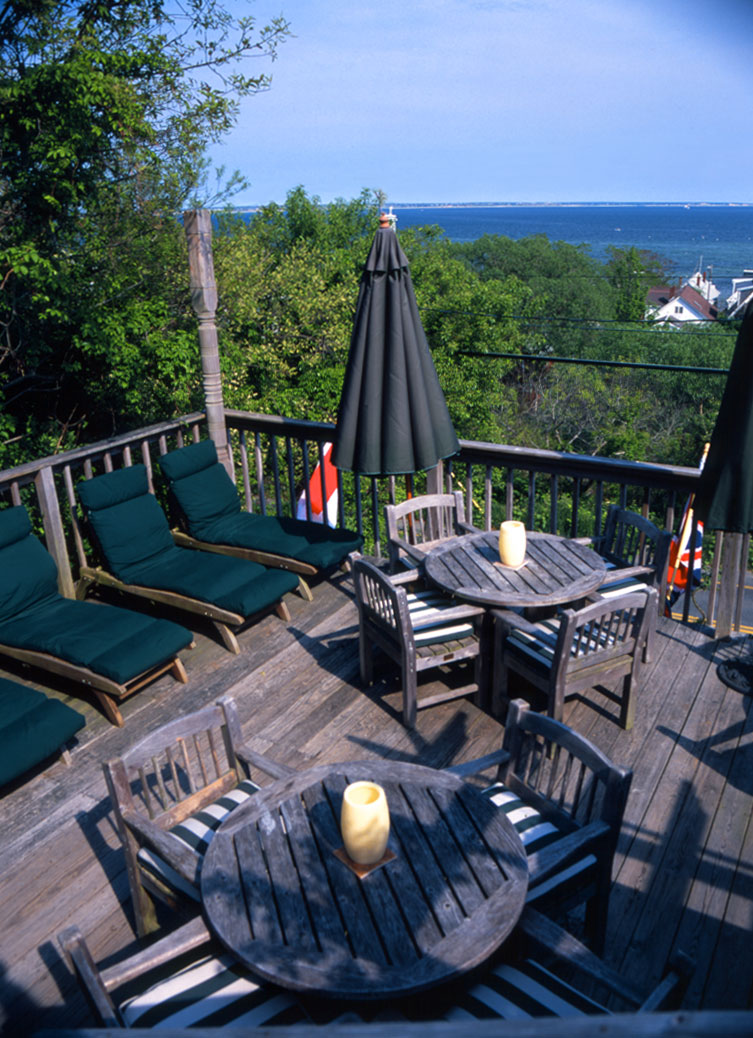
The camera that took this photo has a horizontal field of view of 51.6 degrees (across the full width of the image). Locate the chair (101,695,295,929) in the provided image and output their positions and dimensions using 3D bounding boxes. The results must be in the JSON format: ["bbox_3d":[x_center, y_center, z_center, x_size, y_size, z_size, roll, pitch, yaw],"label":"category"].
[{"bbox_3d":[-0.630,1.044,2.726,0.466,0.669,0.437,-32,51,-33],"label":"chair"}]

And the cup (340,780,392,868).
[{"bbox_3d":[-0.026,0.863,2.268,0.189,0.285,0.202,-1,16,0],"label":"cup"}]

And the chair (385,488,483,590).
[{"bbox_3d":[0.350,0.081,5.029,0.522,0.753,0.493,-18,28,-27],"label":"chair"}]

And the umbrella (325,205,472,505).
[{"bbox_3d":[0.081,-0.807,3.750,0.623,1.277,0.421,1,19,5],"label":"umbrella"}]

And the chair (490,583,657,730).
[{"bbox_3d":[0.933,0.671,3.760,0.445,0.598,0.391,-17,37,-24],"label":"chair"}]

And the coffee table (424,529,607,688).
[{"bbox_3d":[0.750,0.471,4.355,0.726,0.485,0.748,-6,30,-5],"label":"coffee table"}]

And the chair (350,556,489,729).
[{"bbox_3d":[0.240,0.672,4.110,0.474,0.701,0.501,-14,31,-23],"label":"chair"}]

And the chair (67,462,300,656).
[{"bbox_3d":[-1.256,0.216,5.369,1.701,1.058,0.884,22,33,24],"label":"chair"}]
